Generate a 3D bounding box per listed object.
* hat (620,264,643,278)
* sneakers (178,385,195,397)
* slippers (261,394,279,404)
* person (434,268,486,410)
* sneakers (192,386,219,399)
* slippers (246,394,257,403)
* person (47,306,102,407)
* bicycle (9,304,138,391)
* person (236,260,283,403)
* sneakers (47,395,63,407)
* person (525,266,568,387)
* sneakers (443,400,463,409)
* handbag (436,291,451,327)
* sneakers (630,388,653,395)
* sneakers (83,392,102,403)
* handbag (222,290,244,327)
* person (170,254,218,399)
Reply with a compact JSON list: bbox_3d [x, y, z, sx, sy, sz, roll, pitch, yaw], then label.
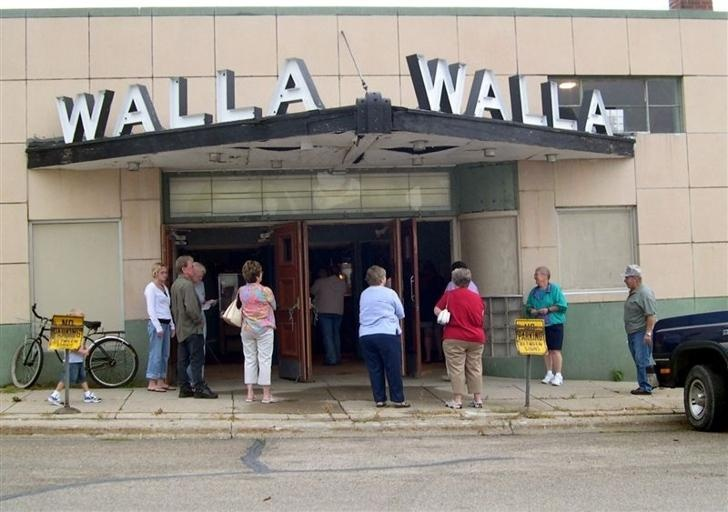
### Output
[{"bbox_3d":[5.036,0.311,21.852,0.372,0.200,0.254,2,6,29],"label":"hat"},{"bbox_3d":[-3.314,2.536,21.540,0.151,0.218,0.320,1,-14,0],"label":"sneakers"},{"bbox_3d":[-1.727,2.584,21.266,0.144,0.214,0.328,1,2,26],"label":"slippers"},{"bbox_3d":[1.803,1.474,20.885,0.903,2.470,0.813,1,-2,-35],"label":"person"},{"bbox_3d":[-2.956,2.552,21.510,0.503,0.251,0.192,0,-1,-6],"label":"sneakers"},{"bbox_3d":[-2.082,2.635,21.290,0.084,0.109,0.254,2,4,11],"label":"slippers"},{"bbox_3d":[-5.308,1.912,21.061,0.937,1.825,1.471,-4,15,-14],"label":"person"},{"bbox_3d":[-5.695,1.776,22.518,2.563,1.613,0.875,0,8,1],"label":"bicycle"},{"bbox_3d":[-1.963,1.429,21.198,0.672,2.454,0.939,-4,15,-17],"label":"person"},{"bbox_3d":[-5.551,2.620,20.784,0.284,0.134,0.096,26,-4,-1],"label":"sneakers"},{"bbox_3d":[3.578,1.396,22.795,0.742,2.278,0.595,4,15,17],"label":"person"},{"bbox_3d":[1.587,2.671,20.768,0.349,0.163,0.130,1,1,44],"label":"sneakers"},{"bbox_3d":[1.418,1.018,20.628,0.252,0.558,0.412,1,14,2],"label":"handbag"},{"bbox_3d":[5.255,2.589,21.946,0.376,0.155,0.140,5,-4,24],"label":"sneakers"},{"bbox_3d":[-4.926,2.597,21.146,0.373,0.188,0.161,2,-1,-4],"label":"sneakers"},{"bbox_3d":[-2.447,1.056,21.484,0.358,0.837,0.928,-2,14,-7],"label":"handbag"},{"bbox_3d":[-3.196,1.357,21.542,0.714,2.501,0.997,-3,14,-12],"label":"person"}]
